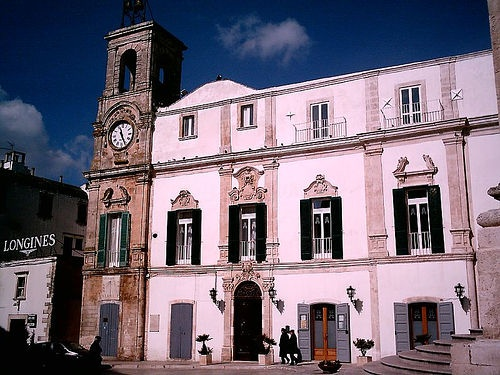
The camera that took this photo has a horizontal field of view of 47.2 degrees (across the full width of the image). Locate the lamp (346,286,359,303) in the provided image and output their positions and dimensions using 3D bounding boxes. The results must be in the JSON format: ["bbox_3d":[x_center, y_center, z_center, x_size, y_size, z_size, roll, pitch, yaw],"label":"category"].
[{"bbox_3d":[5.163,5.408,29.041,0.592,0.838,0.279,-5,-15,11],"label":"lamp"}]

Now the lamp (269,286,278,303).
[{"bbox_3d":[1.214,5.754,30.693,0.437,0.912,0.254,-3,-15,5],"label":"lamp"}]

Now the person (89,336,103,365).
[{"bbox_3d":[-7.125,7.509,26.396,0.505,1.258,2.676,2,-15,-13],"label":"person"}]

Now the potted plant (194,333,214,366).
[{"bbox_3d":[-2.457,8.665,30.693,0.862,1.564,2.256,-1,-15,-5],"label":"potted plant"}]

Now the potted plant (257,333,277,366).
[{"bbox_3d":[0.742,8.492,29.931,1.169,1.394,0.969,-1,6,2],"label":"potted plant"}]

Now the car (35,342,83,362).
[{"bbox_3d":[-9.253,8.018,28.078,2.178,0.769,1.014,-8,-14,20],"label":"car"}]

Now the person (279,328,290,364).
[{"bbox_3d":[1.745,8.137,29.426,0.517,1.766,0.774,-2,-15,-1],"label":"person"}]

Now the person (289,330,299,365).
[{"bbox_3d":[2.235,8.139,29.211,0.519,1.704,1.162,-4,-15,7],"label":"person"}]

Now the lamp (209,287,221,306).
[{"bbox_3d":[-1.999,6.078,31.936,0.559,0.986,0.334,-4,-15,9],"label":"lamp"}]

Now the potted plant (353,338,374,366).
[{"bbox_3d":[5.437,7.871,27.357,1.342,1.502,0.643,-6,-30,17],"label":"potted plant"}]

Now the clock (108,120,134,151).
[{"bbox_3d":[-8.247,-3.394,36.740,1.970,2.041,0.128,-4,-19,29],"label":"clock"}]
